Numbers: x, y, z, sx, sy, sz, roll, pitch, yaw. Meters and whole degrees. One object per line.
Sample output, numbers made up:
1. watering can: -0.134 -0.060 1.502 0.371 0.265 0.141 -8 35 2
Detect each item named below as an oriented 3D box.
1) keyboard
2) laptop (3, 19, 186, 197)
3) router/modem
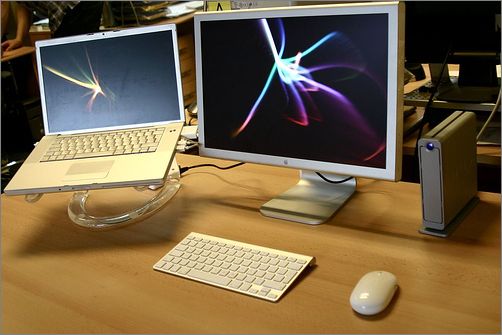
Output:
1. keyboard: -0.048 0.261 0.997 0.408 0.025 0.157 7 32 22
2. laptop: -0.469 -0.217 1.445 0.655 0.571 0.570 -5 25 1
3. router/modem: 0.579 0.031 1.073 0.113 0.301 0.328 5 28 39
